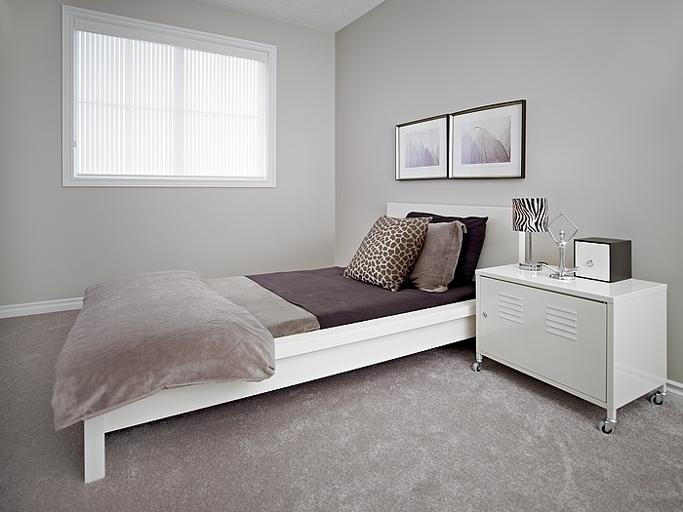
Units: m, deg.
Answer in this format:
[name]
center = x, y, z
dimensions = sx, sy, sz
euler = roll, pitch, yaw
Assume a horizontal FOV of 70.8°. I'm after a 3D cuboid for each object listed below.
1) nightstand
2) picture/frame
[nightstand]
center = 1.476, 0.216, 3.033
dimensions = 0.680, 0.799, 1.181
euler = -1, 2, -31
[picture/frame]
center = 1.002, -0.937, 3.899
dimensions = 0.035, 0.405, 0.881
euler = -2, 2, -38
